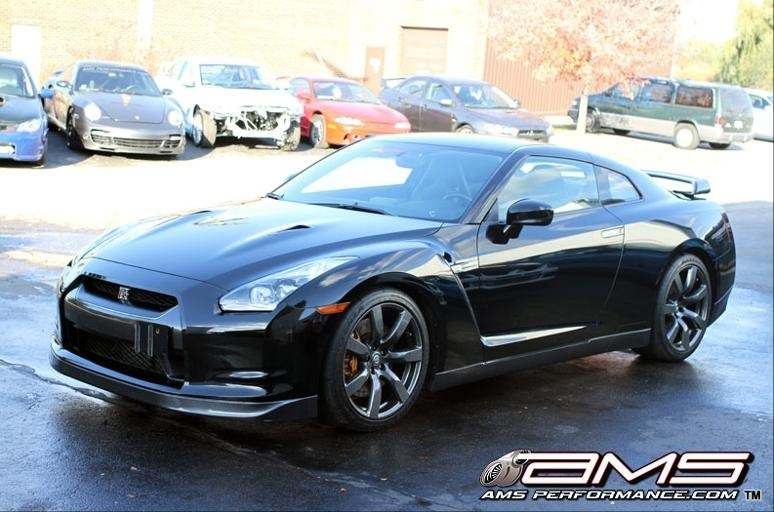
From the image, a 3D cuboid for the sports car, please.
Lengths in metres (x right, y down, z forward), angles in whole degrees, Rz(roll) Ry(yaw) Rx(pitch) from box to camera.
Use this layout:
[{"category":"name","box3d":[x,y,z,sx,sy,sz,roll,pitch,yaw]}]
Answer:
[{"category":"sports car","box3d":[0.415,0.018,6.120,5.780,1.603,2.855,-3,6,-41]}]

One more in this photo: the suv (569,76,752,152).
[{"category":"suv","box3d":[12.375,-6.152,27.589,7.882,2.546,3.284,14,18,29]}]
